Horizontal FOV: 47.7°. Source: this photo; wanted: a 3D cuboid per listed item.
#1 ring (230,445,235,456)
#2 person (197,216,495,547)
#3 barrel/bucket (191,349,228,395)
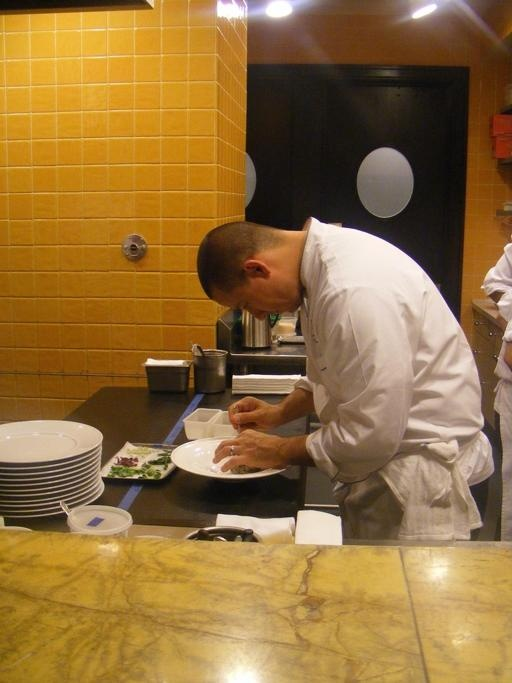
[{"bbox_3d":[-0.057,0.257,1.368,0.015,0.026,0.015,-1,8,0],"label":"ring"},{"bbox_3d":[0.238,0.259,1.540,0.700,1.138,0.585,-2,13,13],"label":"person"},{"bbox_3d":[-0.181,0.113,2.261,0.169,0.169,0.164,0,5,0],"label":"barrel/bucket"}]
